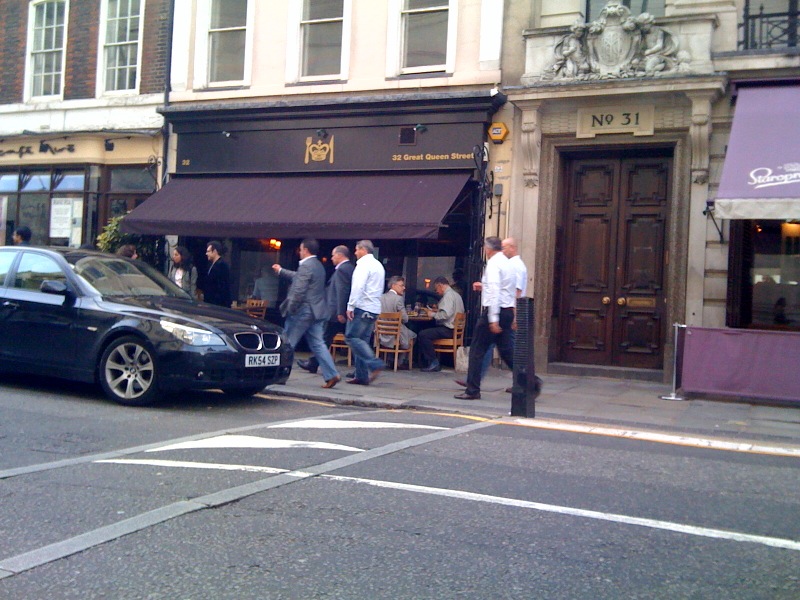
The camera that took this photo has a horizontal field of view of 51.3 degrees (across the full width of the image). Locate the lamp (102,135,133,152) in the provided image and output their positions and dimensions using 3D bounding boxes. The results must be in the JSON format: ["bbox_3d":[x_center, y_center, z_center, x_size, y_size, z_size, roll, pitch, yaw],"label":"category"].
[{"bbox_3d":[-6.370,-3.505,18.547,0.405,0.267,0.418,0,1,0],"label":"lamp"}]

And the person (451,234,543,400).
[{"bbox_3d":[1.211,0.260,11.288,0.788,2.198,1.231,3,5,9],"label":"person"}]
